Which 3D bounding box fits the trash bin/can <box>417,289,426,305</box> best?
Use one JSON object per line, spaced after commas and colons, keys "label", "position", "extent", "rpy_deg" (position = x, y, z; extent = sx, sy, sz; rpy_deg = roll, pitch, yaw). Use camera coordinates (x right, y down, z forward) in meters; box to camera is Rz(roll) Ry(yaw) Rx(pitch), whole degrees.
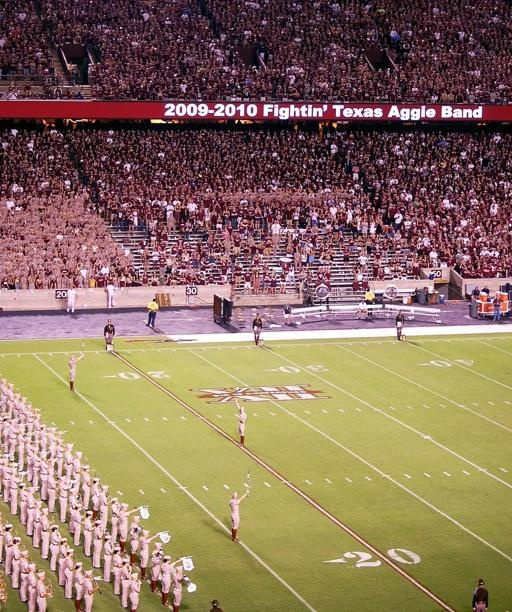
{"label": "trash bin/can", "position": [7.228, -0.414, 50.280], "extent": [0.494, 0.565, 0.262], "rpy_deg": [7, 11, 26]}
